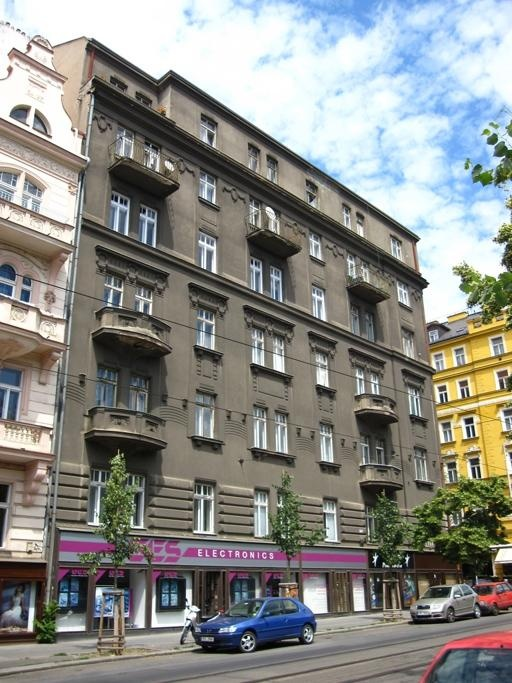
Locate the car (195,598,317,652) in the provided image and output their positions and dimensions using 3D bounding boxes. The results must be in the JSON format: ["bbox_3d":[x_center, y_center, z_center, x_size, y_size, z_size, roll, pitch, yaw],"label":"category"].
[{"bbox_3d":[-0.003,8.993,17.699,3.409,1.360,1.758,21,-38,-32],"label":"car"}]

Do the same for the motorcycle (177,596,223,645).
[{"bbox_3d":[-1.864,9.299,18.834,1.514,0.919,0.592,-32,-39,23],"label":"motorcycle"}]
